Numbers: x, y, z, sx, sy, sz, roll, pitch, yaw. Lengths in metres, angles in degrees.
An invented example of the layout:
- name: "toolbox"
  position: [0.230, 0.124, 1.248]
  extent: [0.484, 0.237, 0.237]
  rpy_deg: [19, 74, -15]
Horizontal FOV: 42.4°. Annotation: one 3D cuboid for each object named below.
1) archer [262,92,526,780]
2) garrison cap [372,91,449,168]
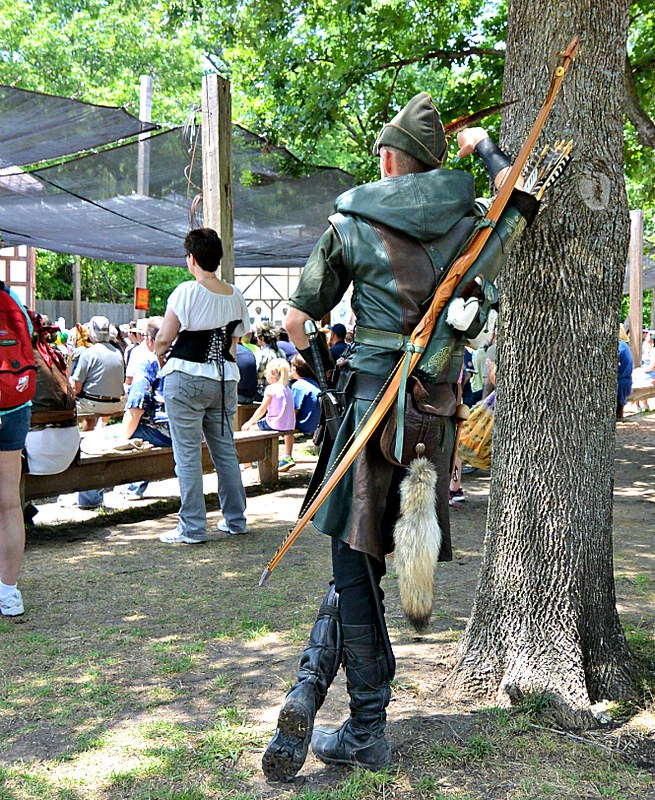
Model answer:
- name: "archer"
  position: [0.056, 0.142, 2.868]
  extent: [0.963, 2.295, 1.043]
  rpy_deg: [8, 7, 24]
- name: "garrison cap"
  position: [0.283, -0.840, 2.688]
  extent: [0.288, 0.222, 0.232]
  rpy_deg: [-2, 17, -20]
